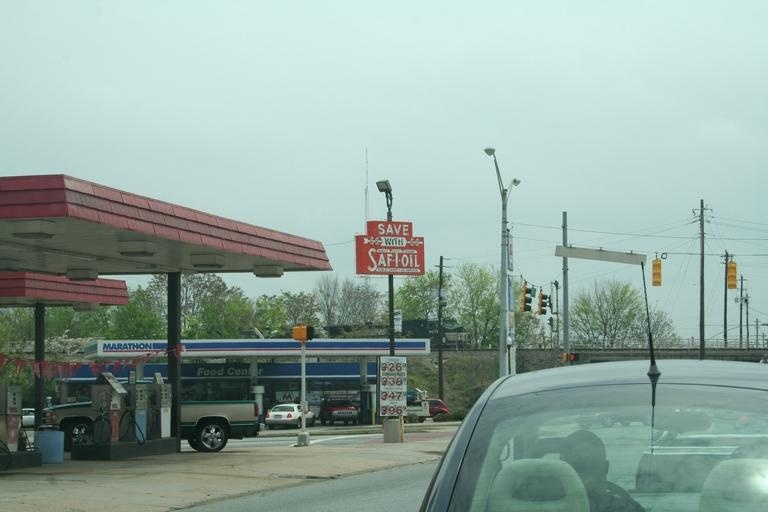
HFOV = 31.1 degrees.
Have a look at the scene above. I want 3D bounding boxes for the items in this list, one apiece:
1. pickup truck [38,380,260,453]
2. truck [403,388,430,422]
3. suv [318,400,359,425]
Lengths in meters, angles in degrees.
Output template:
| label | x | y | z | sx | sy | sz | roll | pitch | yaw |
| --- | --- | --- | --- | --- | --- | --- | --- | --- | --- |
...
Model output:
| label | x | y | z | sx | sy | sz | roll | pitch | yaw |
| --- | --- | --- | --- | --- | --- | --- | --- | --- | --- |
| pickup truck | -9.022 | 6.093 | 52.127 | 11.155 | 3.205 | 4.348 | 3 | -6 | -37 |
| truck | 1.835 | 8.190 | 77.779 | 1.664 | 1.632 | 1.121 | -2 | 6 | -3 |
| suv | -2.455 | 8.513 | 75.456 | 1.092 | 1.047 | 2.163 | 0 | 2 | -8 |
